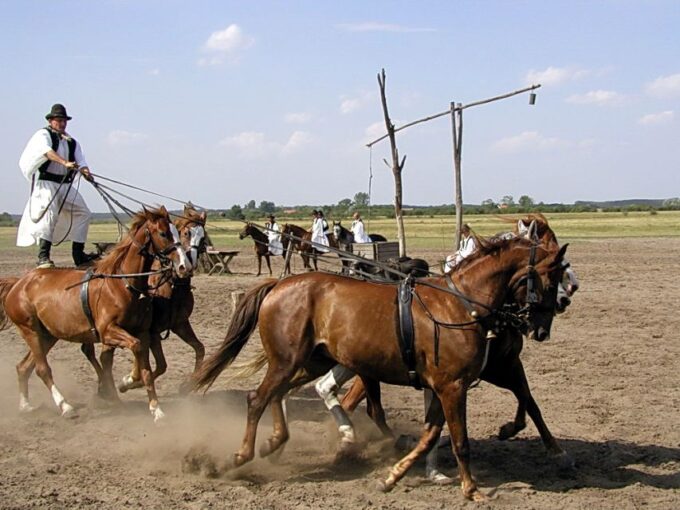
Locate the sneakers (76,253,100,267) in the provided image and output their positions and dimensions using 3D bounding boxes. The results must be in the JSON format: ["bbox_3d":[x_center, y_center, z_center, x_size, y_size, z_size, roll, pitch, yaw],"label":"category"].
[{"bbox_3d":[-4.305,0.071,11.152,0.478,0.224,0.281,-1,5,-36],"label":"sneakers"}]

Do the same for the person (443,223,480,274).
[{"bbox_3d":[2.672,-0.039,14.587,0.708,1.237,0.528,-4,15,0],"label":"person"}]

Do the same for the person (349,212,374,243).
[{"bbox_3d":[0.798,-1.023,25.886,0.898,1.321,0.713,-4,20,-3],"label":"person"}]

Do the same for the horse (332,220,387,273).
[{"bbox_3d":[0.338,-0.382,25.894,0.626,1.629,2.477,-2,-3,23],"label":"horse"}]
